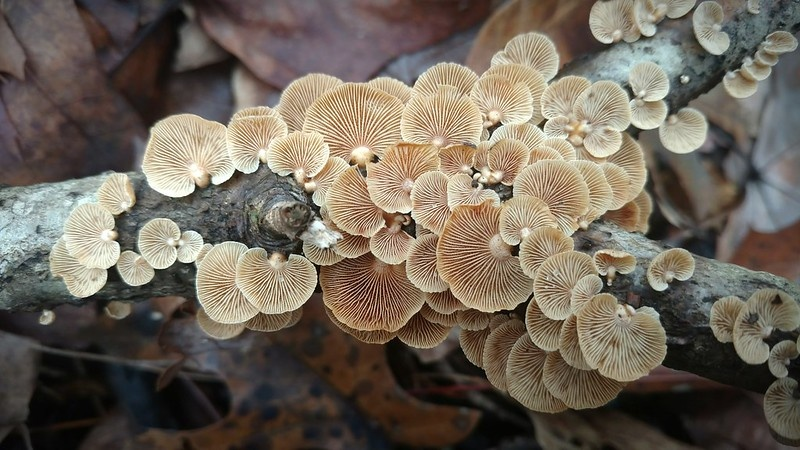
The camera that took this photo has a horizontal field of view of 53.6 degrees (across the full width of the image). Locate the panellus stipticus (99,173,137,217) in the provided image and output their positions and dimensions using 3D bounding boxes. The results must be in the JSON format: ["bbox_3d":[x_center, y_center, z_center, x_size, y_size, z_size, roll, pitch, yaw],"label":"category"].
[{"bbox_3d":[-1.550,-0.161,4.324,0.204,0.113,0.221,3,91,-5],"label":"panellus stipticus"}]

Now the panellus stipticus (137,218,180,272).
[{"bbox_3d":[-1.313,0.102,4.316,0.210,0.117,0.265,10,81,4],"label":"panellus stipticus"}]
